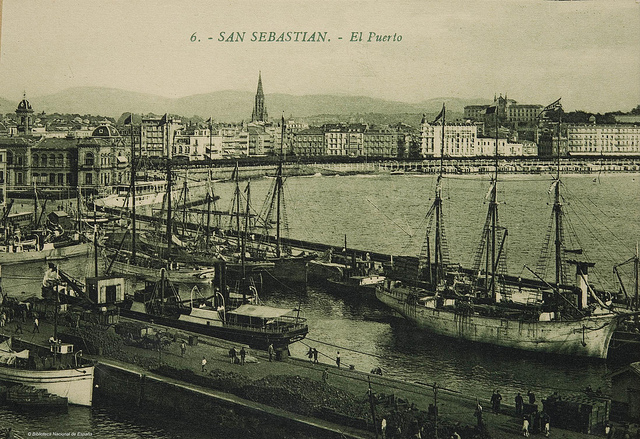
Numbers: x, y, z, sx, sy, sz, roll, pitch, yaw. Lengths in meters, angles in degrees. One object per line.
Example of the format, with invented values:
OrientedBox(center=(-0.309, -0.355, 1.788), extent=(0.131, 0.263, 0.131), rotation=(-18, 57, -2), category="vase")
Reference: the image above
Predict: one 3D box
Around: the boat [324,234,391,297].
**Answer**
OrientedBox(center=(0.806, 1.294, 26.303), extent=(0.658, 1.126, 1.940), rotation=(-6, 12, -33), category="boat")
